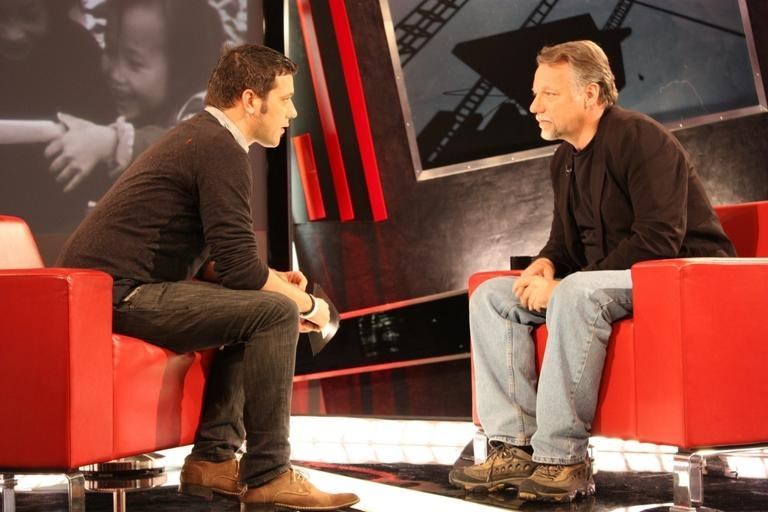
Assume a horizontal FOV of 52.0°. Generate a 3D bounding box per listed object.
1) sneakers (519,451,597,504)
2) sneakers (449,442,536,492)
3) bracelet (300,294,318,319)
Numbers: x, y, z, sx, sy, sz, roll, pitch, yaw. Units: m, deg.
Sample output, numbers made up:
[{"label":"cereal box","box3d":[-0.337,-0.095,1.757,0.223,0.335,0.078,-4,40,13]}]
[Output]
[{"label":"sneakers","box3d":[0.662,0.824,2.951,0.162,0.161,0.389,-5,-7,44]},{"label":"sneakers","box3d":[0.407,0.808,3.069,0.414,0.172,0.146,5,10,-22]},{"label":"bracelet","box3d":[-0.274,0.198,2.992,0.035,0.080,0.076,5,-2,-13]}]
